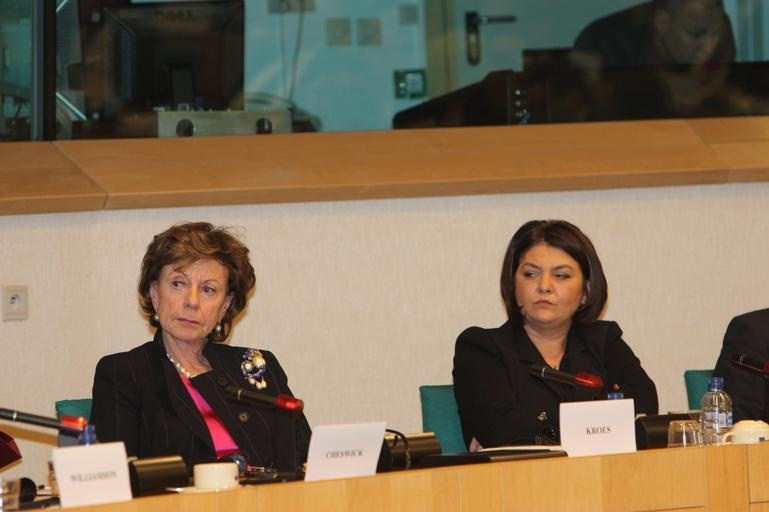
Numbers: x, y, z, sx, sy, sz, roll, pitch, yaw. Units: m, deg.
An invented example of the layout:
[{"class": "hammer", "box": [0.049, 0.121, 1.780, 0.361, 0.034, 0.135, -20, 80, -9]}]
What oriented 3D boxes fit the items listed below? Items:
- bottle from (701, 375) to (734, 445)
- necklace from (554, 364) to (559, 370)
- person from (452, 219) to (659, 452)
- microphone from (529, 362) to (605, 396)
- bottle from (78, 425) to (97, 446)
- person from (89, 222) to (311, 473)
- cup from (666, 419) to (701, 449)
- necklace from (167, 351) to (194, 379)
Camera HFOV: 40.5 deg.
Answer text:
[{"class": "bottle", "box": [1.314, 0.602, 4.137, 0.121, 0.238, 0.653, -5, -6, 17]}, {"class": "necklace", "box": [0.772, 0.495, 4.659, 0.012, 0.017, 0.041, 0, -9, -27]}, {"class": "person", "box": [0.743, 0.317, 4.630, 0.842, 0.989, 0.431, -3, -5, -13]}, {"class": "microphone", "box": [0.755, 0.519, 4.350, 0.292, 0.094, 0.086, 13, -29, 23]}, {"class": "bottle", "box": [-1.017, 0.616, 3.623, 0.065, 0.078, 0.068, 0, -1, 31]}, {"class": "person", "box": [-0.654, 0.343, 4.241, 0.907, 1.038, 0.738, -8, -7, 37]}, {"class": "cup", "box": [1.100, 0.652, 3.831, 0.098, 0.099, 0.102, -1, -7, 0]}, {"class": "necklace", "box": [-0.849, 0.461, 4.361, 0.026, 0.107, 0.108, -44, -36, 7]}]
